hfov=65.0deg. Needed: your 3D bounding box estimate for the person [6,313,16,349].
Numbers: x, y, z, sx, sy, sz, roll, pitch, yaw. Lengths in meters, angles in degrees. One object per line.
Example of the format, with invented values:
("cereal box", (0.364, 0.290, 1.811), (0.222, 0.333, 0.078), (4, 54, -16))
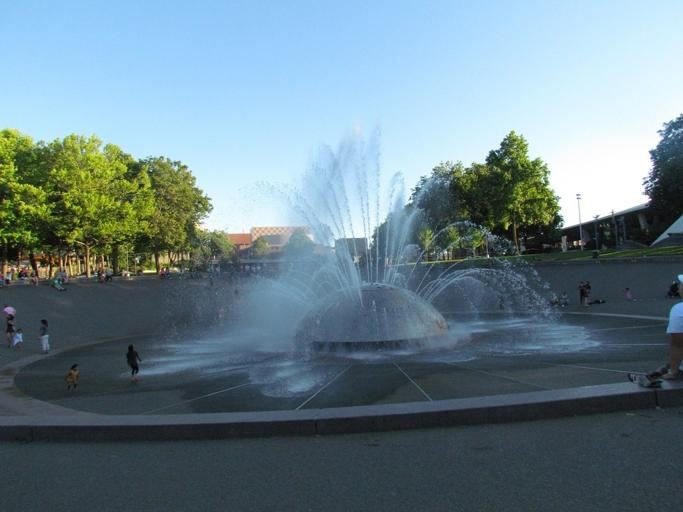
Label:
("person", (-11.417, 2.495, 18.353), (0.255, 1.105, 1.207), (-7, 5, -34))
